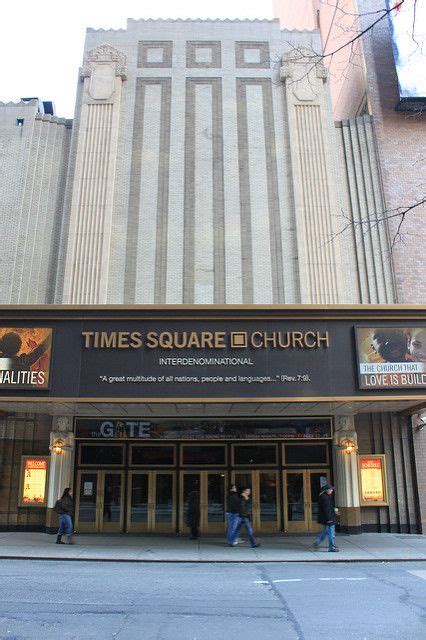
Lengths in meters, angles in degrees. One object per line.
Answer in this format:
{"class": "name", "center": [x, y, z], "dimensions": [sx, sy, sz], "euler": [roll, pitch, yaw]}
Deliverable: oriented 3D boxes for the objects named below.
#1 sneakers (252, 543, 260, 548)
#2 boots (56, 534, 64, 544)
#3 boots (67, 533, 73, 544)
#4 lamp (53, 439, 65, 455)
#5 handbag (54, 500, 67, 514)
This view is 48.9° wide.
{"class": "sneakers", "center": [1.139, 6.015, 12.495], "dimensions": [0.208, 0.104, 0.437], "euler": [-4, -17, 7]}
{"class": "boots", "center": [-4.172, 5.953, 12.708], "dimensions": [0.183, 0.244, 0.345], "euler": [3, -17, -17]}
{"class": "boots", "center": [-3.877, 5.940, 12.684], "dimensions": [0.157, 0.257, 0.372], "euler": [0, -17, -4]}
{"class": "lamp", "center": [-4.897, 4.038, 14.847], "dimensions": [0.335, 0.462, 0.206], "euler": [4, -18, -19]}
{"class": "handbag", "center": [-4.067, 5.009, 12.622], "dimensions": [0.405, 0.467, 0.233], "euler": [1, -17, -9]}
